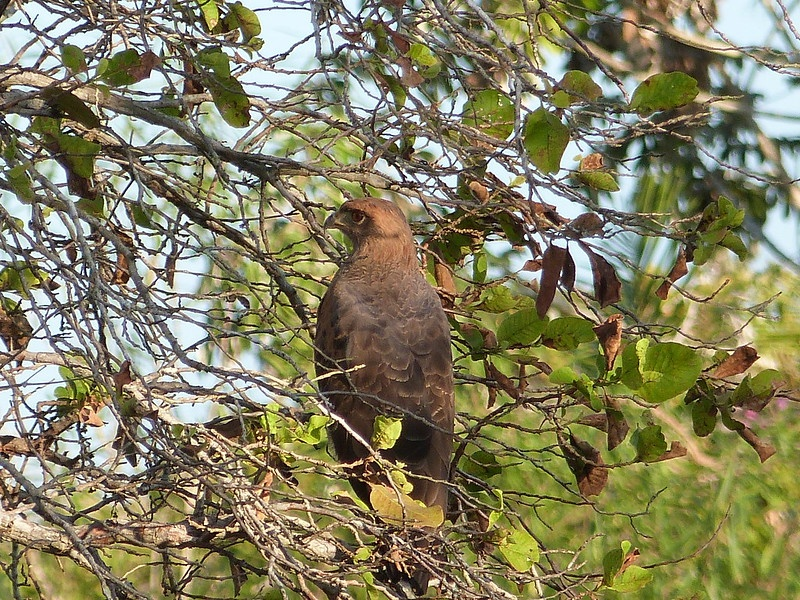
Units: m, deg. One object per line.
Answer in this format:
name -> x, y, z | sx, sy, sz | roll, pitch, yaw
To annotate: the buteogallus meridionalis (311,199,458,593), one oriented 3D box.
buteogallus meridionalis -> -0.051, 0.447, 6.909 | 0.748, 2.297, 0.557 | -8, -24, -9
